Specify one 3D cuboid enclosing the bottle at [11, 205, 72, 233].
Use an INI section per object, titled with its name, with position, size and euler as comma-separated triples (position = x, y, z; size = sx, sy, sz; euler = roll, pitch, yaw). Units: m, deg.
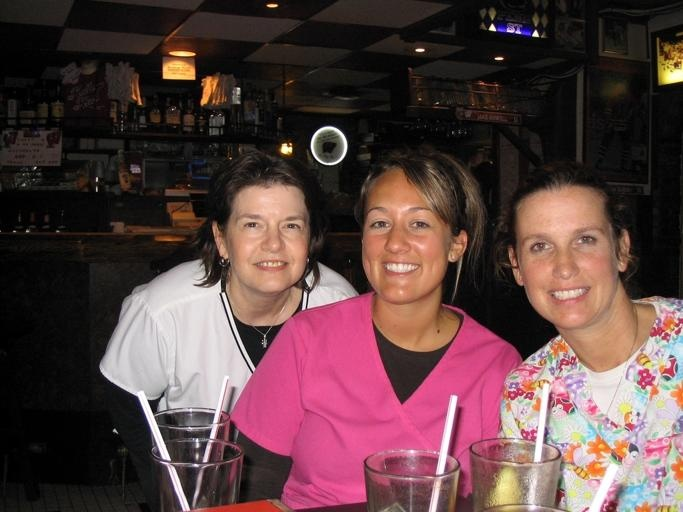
[bottle]
position = -3.507, -0.431, 6.949
size = 0.583, 0.267, 0.196
euler = -1, 0, -4
